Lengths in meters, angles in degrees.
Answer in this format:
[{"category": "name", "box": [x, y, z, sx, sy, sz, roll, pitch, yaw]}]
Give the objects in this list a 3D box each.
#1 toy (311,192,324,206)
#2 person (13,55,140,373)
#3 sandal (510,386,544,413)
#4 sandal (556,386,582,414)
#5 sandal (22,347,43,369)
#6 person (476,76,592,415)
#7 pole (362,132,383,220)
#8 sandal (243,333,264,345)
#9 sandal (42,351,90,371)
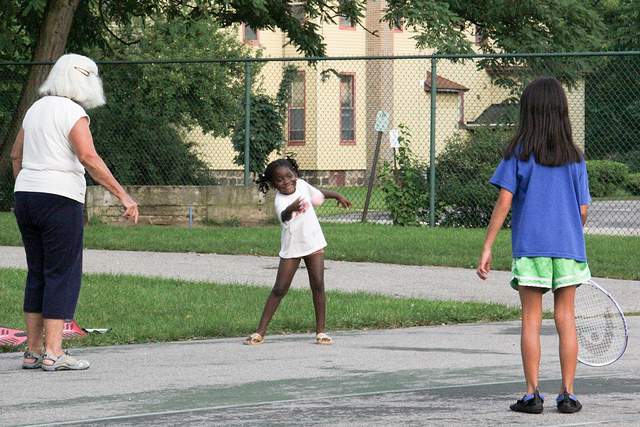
[{"category": "toy", "box": [-0.009, -0.177, 13.563, 0.144, 0.160, 0.197, 0, 3, 10]}, {"category": "person", "box": [-2.907, -0.009, 12.534, 1.037, 3.578, 0.570, -1, 3, -14]}, {"category": "sandal", "box": [2.184, 1.967, 11.669, 0.212, 0.254, 0.454, 2, -9, -27]}, {"category": "sandal", "box": [2.617, 1.965, 11.578, 0.297, 0.282, 0.702, -1, 0, 13]}, {"category": "sandal", "box": [-3.223, 1.668, 12.590, 0.118, 0.145, 0.342, 1, 3, 20]}, {"category": "person", "box": [2.322, 0.319, 11.670, 1.049, 3.520, 0.602, 0, 3, 12]}, {"category": "pole", "box": [1.221, -0.774, 22.555, 0.473, 1.622, 0.496, 3, -2, -20]}, {"category": "sandal", "box": [-0.797, 1.524, 13.395, 0.101, 0.111, 0.279, -3, -6, 42]}, {"category": "sandal", "box": [-2.846, 1.686, 12.586, 0.590, 0.244, 0.194, 0, -1, -9]}]
